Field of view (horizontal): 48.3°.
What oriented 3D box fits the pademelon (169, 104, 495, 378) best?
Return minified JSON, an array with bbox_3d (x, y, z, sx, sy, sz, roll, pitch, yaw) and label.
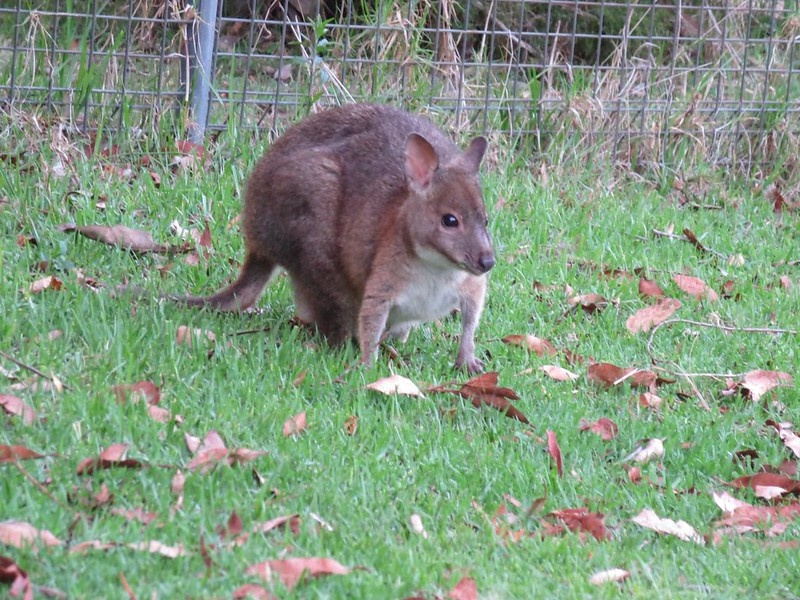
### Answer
[{"bbox_3d":[-0.279,-0.433,4.826,1.773,1.237,0.917,10,13,31],"label":"pademelon"}]
